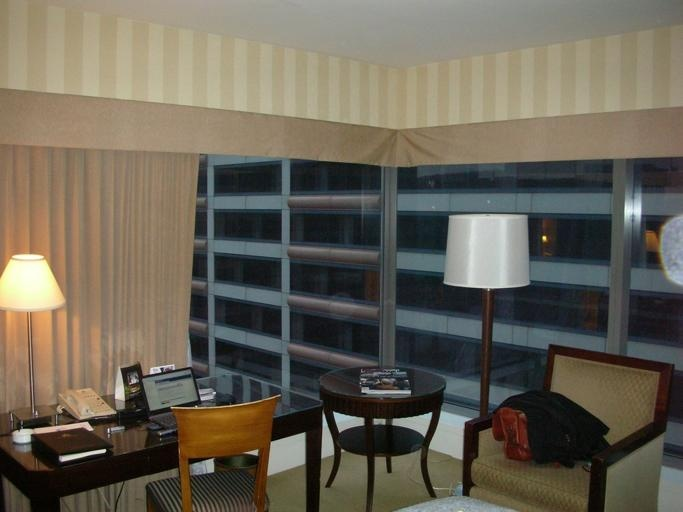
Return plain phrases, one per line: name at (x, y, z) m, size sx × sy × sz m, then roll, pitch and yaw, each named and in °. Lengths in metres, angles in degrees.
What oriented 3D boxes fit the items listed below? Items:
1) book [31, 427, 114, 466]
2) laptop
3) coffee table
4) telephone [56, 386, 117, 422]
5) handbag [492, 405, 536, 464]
book at (-1.403, 0.975, 2.888) m, size 0.428 × 0.079 × 0.264 m, roll 2°, pitch 6°, yaw 34°
laptop at (-1.019, 0.840, 3.343) m, size 0.329 × 0.275 × 0.247 m, roll -2°, pitch 0°, yaw -36°
coffee table at (0.324, 1.144, 4.062) m, size 0.952 × 0.871 × 0.893 m, roll 0°, pitch 3°, yaw -34°
telephone at (-1.508, 0.859, 3.294) m, size 0.294 × 0.095 × 0.223 m, roll 17°, pitch 7°, yaw 42°
handbag at (1.053, 1.059, 3.459) m, size 0.240 × 0.370 × 0.366 m, roll -6°, pitch -13°, yaw 27°
